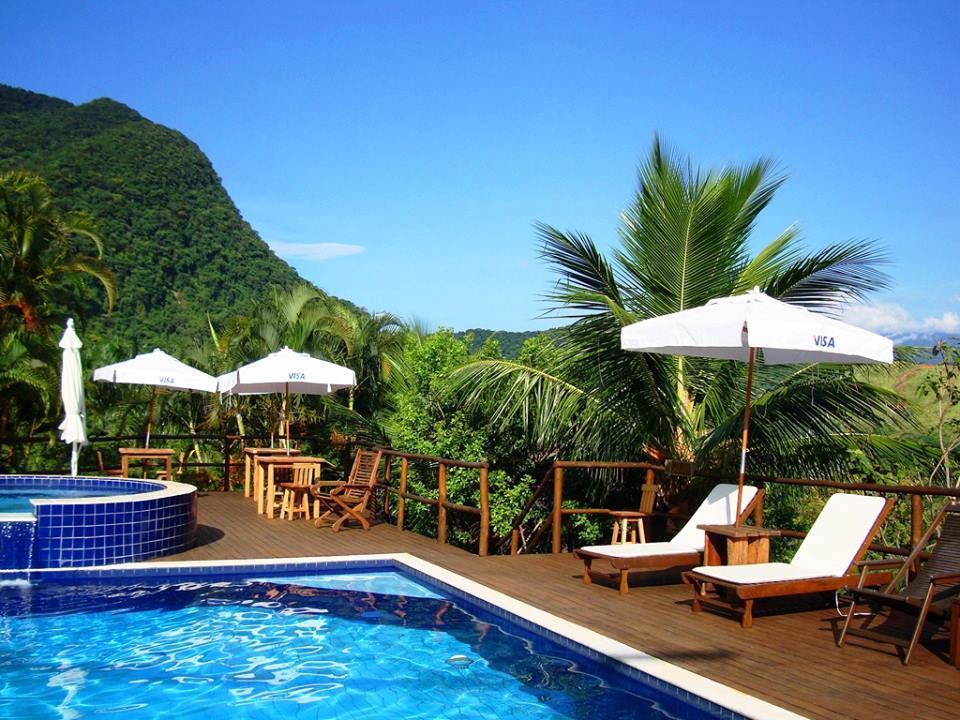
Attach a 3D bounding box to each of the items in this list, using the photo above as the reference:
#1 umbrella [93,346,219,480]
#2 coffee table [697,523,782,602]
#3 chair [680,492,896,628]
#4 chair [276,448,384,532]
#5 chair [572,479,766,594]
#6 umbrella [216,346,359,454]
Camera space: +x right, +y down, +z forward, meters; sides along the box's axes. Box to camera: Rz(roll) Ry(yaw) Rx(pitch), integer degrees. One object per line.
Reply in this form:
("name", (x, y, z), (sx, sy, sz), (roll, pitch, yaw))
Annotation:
("umbrella", (-6.937, 0.819, 14.484), (2.477, 2.229, 2.269), (9, 6, 31))
("coffee table", (2.637, 1.956, 6.930), (0.602, 0.505, 0.560), (4, -8, -18))
("chair", (2.938, 1.829, 6.436), (1.789, 0.947, 0.854), (0, -5, -19))
("chair", (-2.242, 2.176, 11.947), (1.961, 1.679, 1.310), (5, -7, -37))
("chair", (2.053, 1.917, 7.580), (1.999, 1.058, 1.040), (3, -7, -20))
("umbrella", (-3.675, 0.365, 13.113), (2.109, 1.437, 1.981), (9, 25, 4))
